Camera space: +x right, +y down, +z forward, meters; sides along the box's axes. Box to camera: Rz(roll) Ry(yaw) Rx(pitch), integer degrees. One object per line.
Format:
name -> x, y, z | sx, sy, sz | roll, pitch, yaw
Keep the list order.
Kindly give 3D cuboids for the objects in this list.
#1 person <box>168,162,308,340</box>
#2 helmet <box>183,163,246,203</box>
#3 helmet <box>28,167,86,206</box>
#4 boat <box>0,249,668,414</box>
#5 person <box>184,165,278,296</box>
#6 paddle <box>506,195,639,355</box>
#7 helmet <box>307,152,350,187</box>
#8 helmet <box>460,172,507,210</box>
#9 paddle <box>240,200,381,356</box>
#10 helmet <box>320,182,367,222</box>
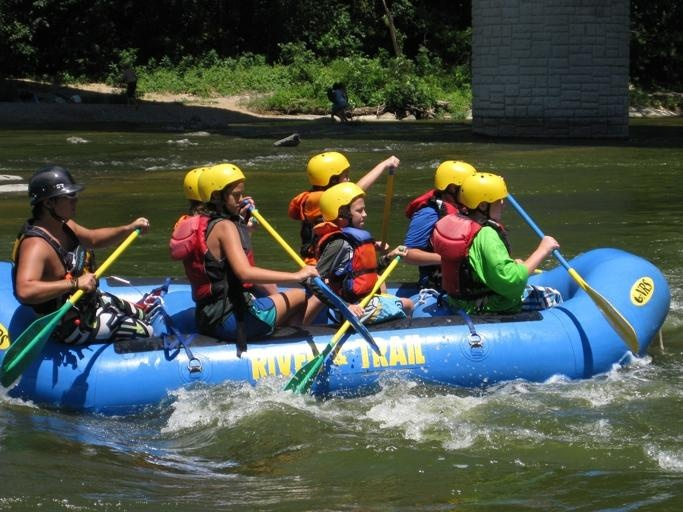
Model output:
person -> -0.782, -0.012, 8.343 | 1.067, 1.388, 0.696 | -3, 12, -8
helmet -> -1.096, -0.590, 8.463 | 0.609, 0.241, 0.377 | -8, 7, 9
helmet -> -2.171, -0.566, 8.206 | 0.498, 0.211, 0.355 | -5, 17, 25
boat -> 0.092, 0.689, 8.711 | 4.715, 0.673, 1.840 | -2, 5, -9
person -> -1.175, -0.214, 9.070 | 1.021, 1.025, 0.311 | -3, 13, 8
paddle -> 2.129, 0.175, 9.968 | 0.094, 0.299, 2.166 | -4, 38, -39
helmet -> -0.087, -0.754, 9.369 | 0.451, 0.292, 0.303 | -11, 11, 8
helmet -> 1.148, -0.553, 8.685 | 0.392, 0.231, 0.250 | -1, 29, 11
paddle -> -0.219, 0.184, 8.523 | 0.139, 2.050, 0.209 | -44, -17, -12
helmet -> -0.035, -0.444, 8.555 | 0.418, 0.244, 0.264 | -7, -4, -5
